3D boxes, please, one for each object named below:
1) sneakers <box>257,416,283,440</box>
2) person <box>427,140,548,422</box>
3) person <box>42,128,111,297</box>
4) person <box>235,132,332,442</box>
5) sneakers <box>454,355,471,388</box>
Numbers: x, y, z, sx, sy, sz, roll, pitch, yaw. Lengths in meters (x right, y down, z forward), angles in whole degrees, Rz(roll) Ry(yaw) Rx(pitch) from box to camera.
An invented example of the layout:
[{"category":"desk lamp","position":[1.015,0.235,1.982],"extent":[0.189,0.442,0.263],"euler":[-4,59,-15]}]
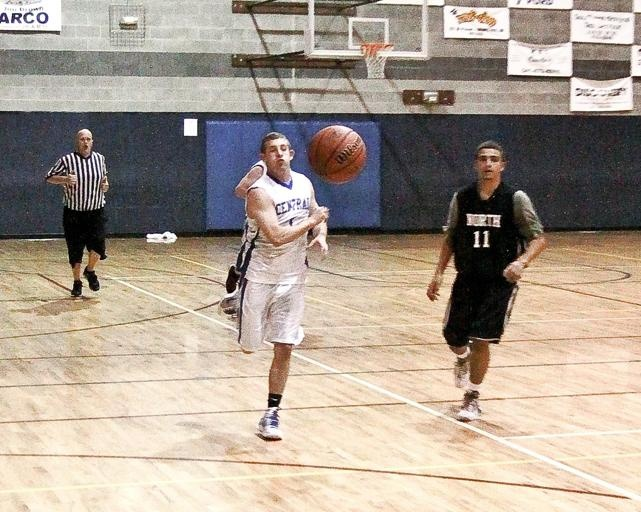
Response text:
[{"category":"sneakers","position":[-0.262,0.874,3.571],"extent":[0.121,0.123,0.144],"euler":[-1,16,-5]},{"category":"person","position":[0.921,0.159,3.933],"extent":[0.602,1.560,0.586],"euler":[1,16,2]},{"category":"person","position":[-2.699,-0.460,7.876],"extent":[0.633,1.864,0.548],"euler":[-9,19,-29]},{"category":"person","position":[-0.206,0.183,3.649],"extent":[0.466,1.599,0.685],"euler":[0,16,0]},{"category":"sneakers","position":[0.855,0.691,4.245],"extent":[0.085,0.228,0.096],"euler":[3,16,12]}]
